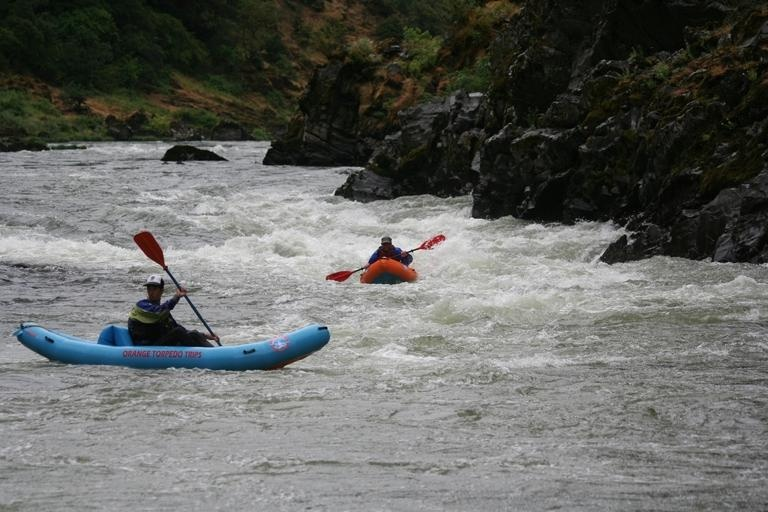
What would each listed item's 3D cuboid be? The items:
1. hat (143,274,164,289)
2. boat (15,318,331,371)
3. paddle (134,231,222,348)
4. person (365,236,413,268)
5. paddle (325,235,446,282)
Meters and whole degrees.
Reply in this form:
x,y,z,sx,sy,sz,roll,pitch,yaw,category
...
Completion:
x,y,z,sx,sy,sz,roll,pitch,yaw,category
-4.181,0.456,17.517,0.324,0.158,0.367,0,-9,8,hat
-3.760,1.761,17.490,6.513,0.744,1.550,1,-3,-1,boat
-4.280,0.750,19.853,3.795,0.517,0.302,39,5,25,paddle
0.117,-0.068,23.151,1.125,0.326,1.176,2,5,4,person
0.048,0.093,23.039,3.980,0.394,0.218,-15,4,-5,paddle
